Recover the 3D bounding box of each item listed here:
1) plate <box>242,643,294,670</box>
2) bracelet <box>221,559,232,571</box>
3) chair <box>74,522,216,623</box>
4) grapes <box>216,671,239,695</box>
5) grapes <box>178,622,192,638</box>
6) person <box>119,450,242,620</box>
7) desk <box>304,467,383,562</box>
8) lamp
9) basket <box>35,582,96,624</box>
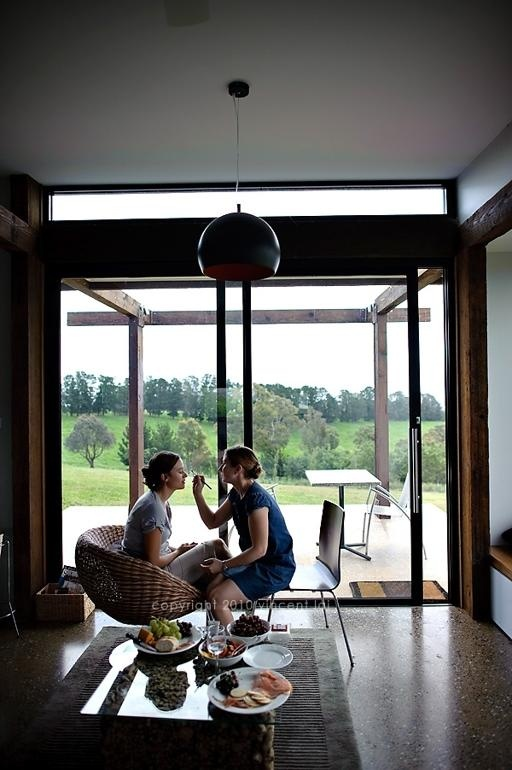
[{"bbox_3d":[0.039,1.040,2.307,0.105,0.016,0.108,-1,3,-16],"label":"plate"},{"bbox_3d":[-0.141,0.875,2.929,0.038,0.065,0.056,1,-1,5],"label":"bracelet"},{"bbox_3d":[-0.550,0.974,3.030,0.665,0.447,0.676,6,-1,-27],"label":"chair"},{"bbox_3d":[-0.103,1.019,2.053,0.031,0.046,0.062,30,21,-27],"label":"grapes"},{"bbox_3d":[-0.293,1.010,2.491,0.043,0.018,0.045,13,2,-10],"label":"grapes"},{"bbox_3d":[-0.466,0.695,3.108,0.707,1.007,0.463,-4,4,-24],"label":"person"},{"bbox_3d":[0.495,0.812,4.064,0.565,0.665,0.540,-1,-4,0],"label":"desk"},{"bbox_3d":[-0.073,-0.916,2.767,0.319,0.927,1.011,0,1,0],"label":"lamp"},{"bbox_3d":[-1.170,1.328,3.690,0.241,0.164,0.253,1,-6,-2],"label":"basket"}]
